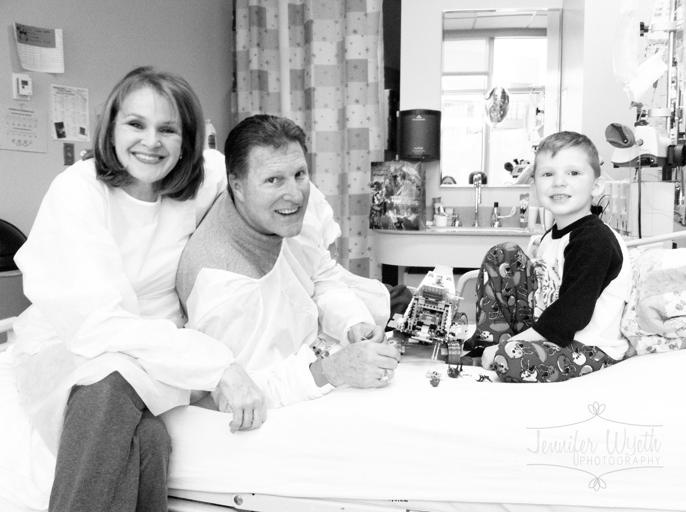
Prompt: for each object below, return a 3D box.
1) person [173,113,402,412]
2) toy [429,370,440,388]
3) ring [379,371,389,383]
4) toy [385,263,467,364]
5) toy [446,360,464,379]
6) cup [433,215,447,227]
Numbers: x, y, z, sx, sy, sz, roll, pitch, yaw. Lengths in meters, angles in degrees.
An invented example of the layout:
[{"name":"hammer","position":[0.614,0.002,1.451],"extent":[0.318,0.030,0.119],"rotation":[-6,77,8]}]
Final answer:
[{"name":"person","position":[-0.195,0.040,2.027],"extent":[0.740,0.835,0.916],"rotation":[3,26,14]},{"name":"toy","position":[0.255,0.347,1.719],"extent":[0.029,0.040,0.029],"rotation":[4,-31,-3]},{"name":"ring","position":[0.114,0.332,1.660],"extent":[0.027,0.022,0.021],"rotation":[-8,7,-8]},{"name":"toy","position":[0.272,0.178,1.996],"extent":[0.154,0.153,0.338],"rotation":[2,34,19]},{"name":"toy","position":[0.328,0.338,1.806],"extent":[0.038,0.021,0.034],"rotation":[-5,9,41]},{"name":"cup","position":[0.614,-0.217,3.829],"extent":[0.070,0.072,0.070],"rotation":[0,2,0]}]
